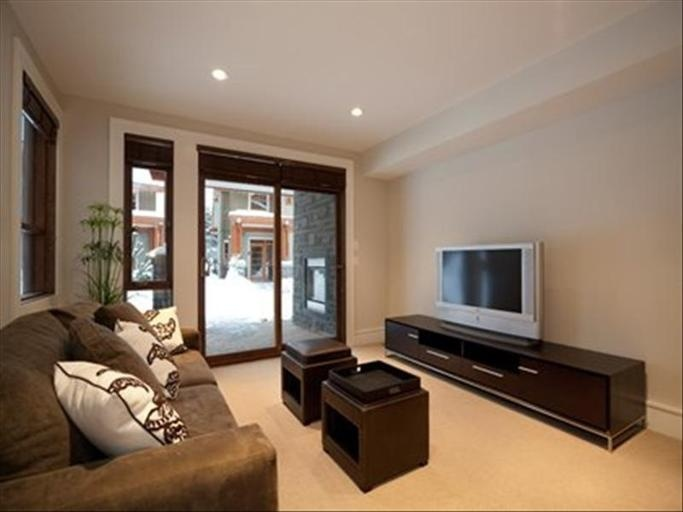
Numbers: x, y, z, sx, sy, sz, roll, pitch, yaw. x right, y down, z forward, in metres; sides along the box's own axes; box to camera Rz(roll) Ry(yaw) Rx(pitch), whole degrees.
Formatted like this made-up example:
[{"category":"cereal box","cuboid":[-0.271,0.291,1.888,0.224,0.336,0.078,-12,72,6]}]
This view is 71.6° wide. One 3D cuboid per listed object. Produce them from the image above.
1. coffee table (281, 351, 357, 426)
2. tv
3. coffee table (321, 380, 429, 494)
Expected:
[{"category":"coffee table","cuboid":[-0.154,0.829,3.158,0.396,0.397,0.393,0,3,-28]},{"category":"tv","cuboid":[1.073,0.271,3.564,0.092,0.676,0.910,0,1,-33]},{"category":"coffee table","cuboid":[0.171,0.907,2.477,0.434,0.406,0.438,1,-2,-30]}]
